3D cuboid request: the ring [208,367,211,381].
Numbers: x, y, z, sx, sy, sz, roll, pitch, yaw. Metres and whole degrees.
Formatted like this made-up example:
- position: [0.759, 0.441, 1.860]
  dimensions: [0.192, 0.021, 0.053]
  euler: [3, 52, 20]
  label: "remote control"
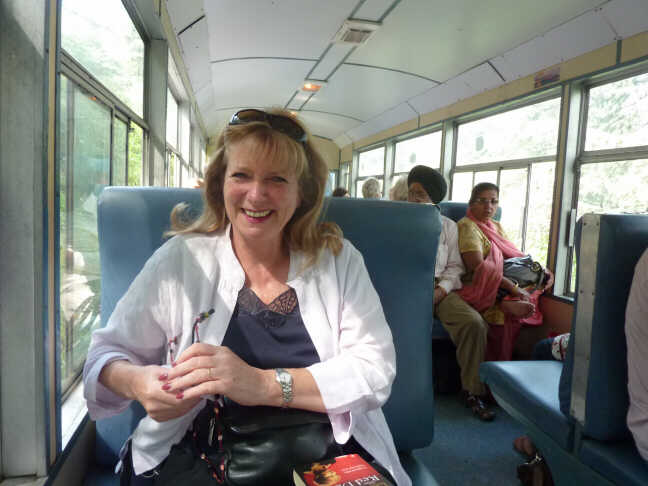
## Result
- position: [-0.404, 0.465, 1.714]
  dimensions: [0.006, 0.027, 0.026]
  euler: [3, 21, -23]
  label: "ring"
